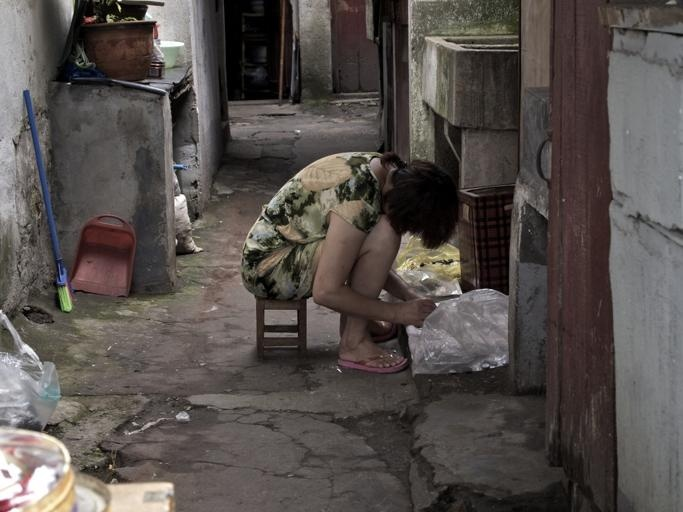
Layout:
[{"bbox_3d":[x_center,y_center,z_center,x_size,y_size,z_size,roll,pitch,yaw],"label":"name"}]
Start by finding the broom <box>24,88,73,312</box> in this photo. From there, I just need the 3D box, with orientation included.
[{"bbox_3d":[-1.810,-0.389,4.309,0.165,1.291,0.303,1,24,-16],"label":"broom"}]

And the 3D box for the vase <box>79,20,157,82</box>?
[{"bbox_3d":[-1.586,-1.466,4.846,0.491,0.418,0.222,-6,13,-22],"label":"vase"}]

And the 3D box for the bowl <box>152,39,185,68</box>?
[{"bbox_3d":[-1.569,-1.859,6.212,0.361,0.193,0.423,-3,12,-11],"label":"bowl"}]

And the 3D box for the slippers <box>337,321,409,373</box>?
[{"bbox_3d":[0.166,0.468,3.687,0.402,0.238,0.438,-2,17,-13],"label":"slippers"}]

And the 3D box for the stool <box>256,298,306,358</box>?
[{"bbox_3d":[-0.335,0.366,3.813,0.272,0.341,0.360,6,17,-12],"label":"stool"}]
